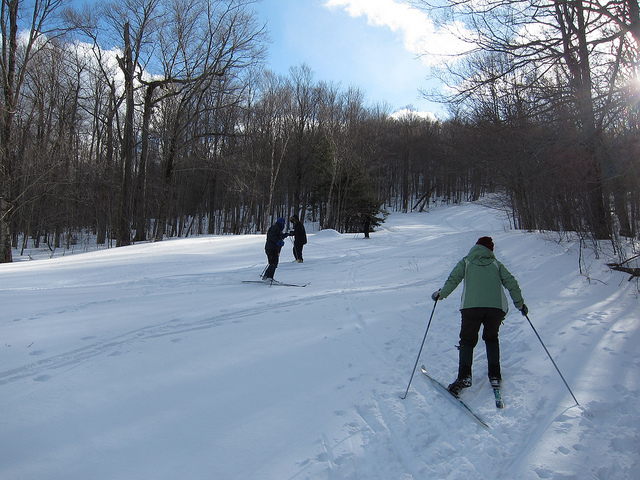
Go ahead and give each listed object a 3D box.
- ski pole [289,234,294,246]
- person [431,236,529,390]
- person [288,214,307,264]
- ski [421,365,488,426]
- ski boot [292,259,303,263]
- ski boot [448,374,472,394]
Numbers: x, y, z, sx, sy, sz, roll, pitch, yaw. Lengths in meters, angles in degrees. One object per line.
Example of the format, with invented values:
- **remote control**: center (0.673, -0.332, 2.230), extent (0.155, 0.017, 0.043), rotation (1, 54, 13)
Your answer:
- **ski pole**: center (-1.153, 0.017, 19.611), extent (0.060, 0.067, 0.494), rotation (-15, -51, 16)
- **person**: center (2.876, 1.394, 8.644), extent (1.324, 2.389, 0.912), rotation (3, 8, 15)
- **person**: center (-0.801, -0.026, 17.543), extent (0.572, 1.638, 1.643), rotation (1, 9, -3)
- **ski**: center (2.339, 2.747, 8.401), extent (0.199, 0.292, 1.929), rotation (34, 1, -24)
- **ski boot**: center (-0.763, 0.748, 17.216), extent (0.399, 0.120, 0.210), rotation (6, 10, 24)
- **ski boot**: center (2.506, 2.508, 8.615), extent (0.581, 0.309, 0.198), rotation (-18, 1, -43)
